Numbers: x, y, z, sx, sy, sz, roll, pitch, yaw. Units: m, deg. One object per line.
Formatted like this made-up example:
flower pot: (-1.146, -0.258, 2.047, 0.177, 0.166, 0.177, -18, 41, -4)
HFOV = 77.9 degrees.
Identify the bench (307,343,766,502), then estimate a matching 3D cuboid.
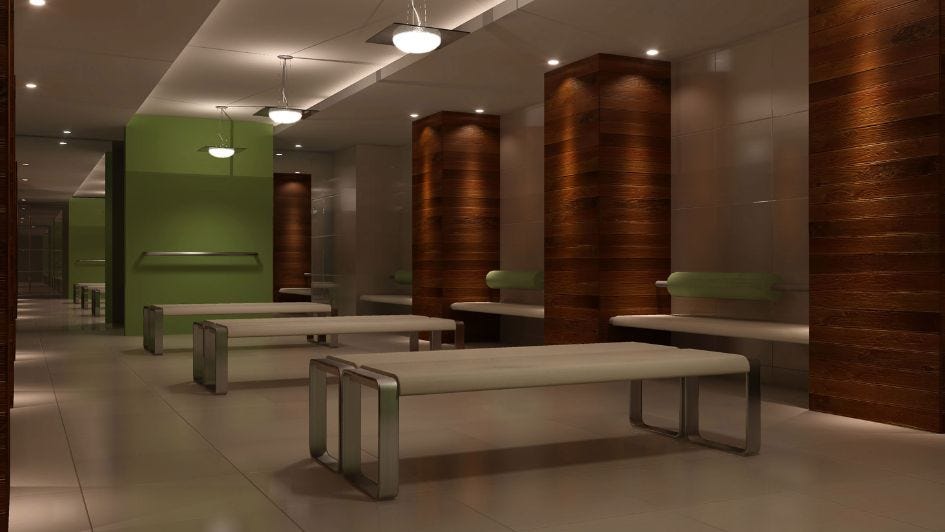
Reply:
bench: (0.408, 1.068, 4.389, 3.165, 0.798, 0.864, -1, 4, -13)

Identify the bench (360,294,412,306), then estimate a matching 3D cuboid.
bench: (-1.685, 0.678, 11.257, 0.362, 0.219, 1.689, -2, 4, -33)

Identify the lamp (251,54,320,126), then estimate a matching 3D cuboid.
lamp: (-2.994, -2.623, 9.068, 0.959, 1.076, 0.969, -3, -5, 41)

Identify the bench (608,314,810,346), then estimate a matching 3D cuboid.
bench: (2.718, 0.711, 6.563, 0.561, 0.281, 2.155, -3, 4, -42)

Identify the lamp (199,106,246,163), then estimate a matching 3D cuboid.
lamp: (-4.547, -2.361, 10.761, 1.022, 1.112, 0.920, 2, -4, -16)
